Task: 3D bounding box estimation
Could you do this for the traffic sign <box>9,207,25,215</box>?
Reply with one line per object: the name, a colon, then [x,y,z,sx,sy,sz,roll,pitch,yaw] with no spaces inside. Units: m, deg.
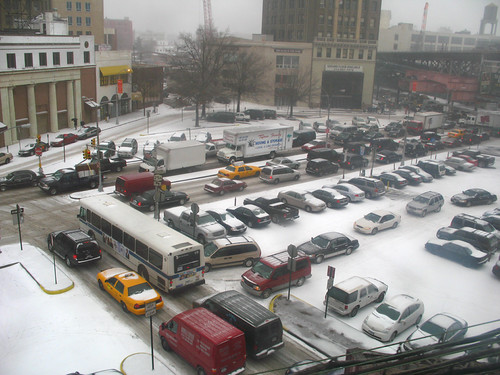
traffic sign: [-16.925,1.735,35.042,0.596,0.531,1.234,-5,17,-13]
